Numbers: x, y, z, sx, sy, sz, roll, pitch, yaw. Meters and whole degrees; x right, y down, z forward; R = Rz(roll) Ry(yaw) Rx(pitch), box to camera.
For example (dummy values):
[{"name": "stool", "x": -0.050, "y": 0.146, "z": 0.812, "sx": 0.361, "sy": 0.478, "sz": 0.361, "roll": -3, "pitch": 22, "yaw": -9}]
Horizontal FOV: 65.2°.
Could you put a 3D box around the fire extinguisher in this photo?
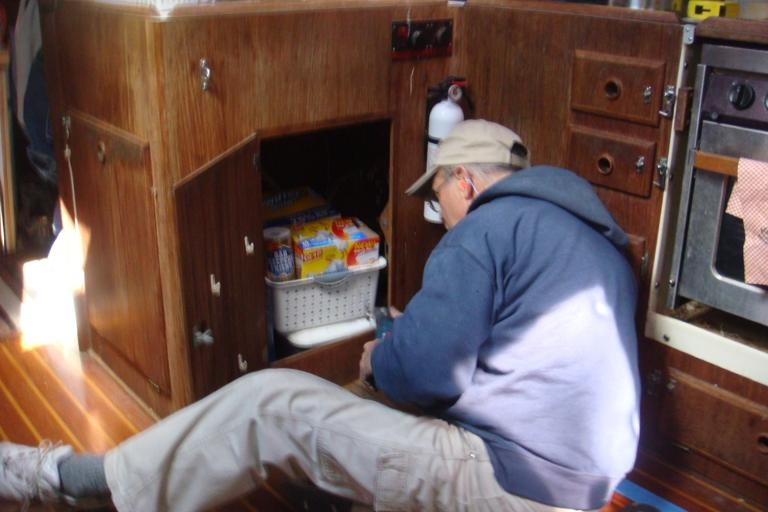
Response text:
[{"name": "fire extinguisher", "x": 0.226, "y": -0.431, "z": 2.504, "sx": 0.207, "sy": 0.547, "sz": 0.271, "roll": 7, "pitch": 39, "yaw": 11}]

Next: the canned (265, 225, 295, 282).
[{"name": "canned", "x": -0.419, "y": -0.003, "z": 2.400, "sx": 0.133, "sy": 0.238, "sz": 0.147, "roll": -2, "pitch": 28, "yaw": 1}]

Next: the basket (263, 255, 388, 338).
[{"name": "basket", "x": -0.247, "y": 0.169, "z": 2.495, "sx": 0.386, "sy": 0.204, "sz": 0.311, "roll": -13, "pitch": 27, "yaw": -20}]

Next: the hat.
[{"name": "hat", "x": 0.271, "y": -0.317, "z": 1.880, "sx": 0.317, "sy": 0.205, "sz": 0.234, "roll": 6, "pitch": 10, "yaw": 16}]
